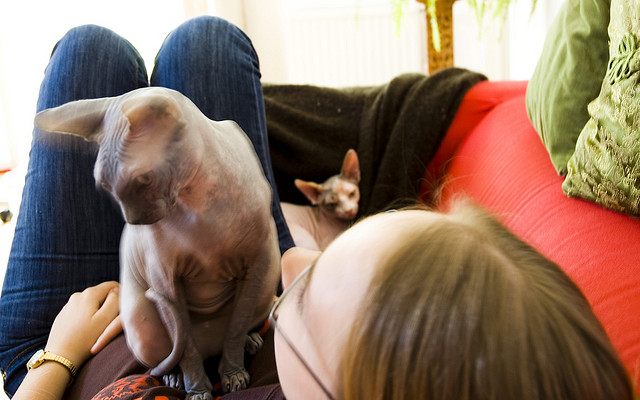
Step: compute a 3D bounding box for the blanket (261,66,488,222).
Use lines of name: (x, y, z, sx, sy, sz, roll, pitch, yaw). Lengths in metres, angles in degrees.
blanket: (0.168, -0.142, 1.581, 0.540, 0.440, 0.188, -1, -20, 35)

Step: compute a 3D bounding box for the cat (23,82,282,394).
cat: (-0.286, 0.082, 0.888, 0.324, 0.530, 0.361, -14, 40, -16)
